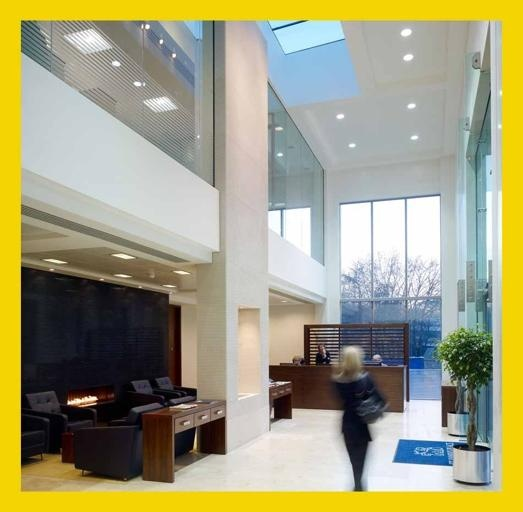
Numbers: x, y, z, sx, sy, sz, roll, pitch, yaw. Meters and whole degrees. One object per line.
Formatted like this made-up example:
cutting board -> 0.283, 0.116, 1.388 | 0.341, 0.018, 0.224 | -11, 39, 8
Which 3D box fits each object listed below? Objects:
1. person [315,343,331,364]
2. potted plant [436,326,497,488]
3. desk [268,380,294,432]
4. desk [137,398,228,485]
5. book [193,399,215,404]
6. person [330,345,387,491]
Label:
person -> 1.862, 3.102, 13.680 | 0.544, 0.879, 0.446 | 2, -11, -11
potted plant -> 2.810, 2.014, 5.898 | 0.705, 1.958, 0.704 | -3, -3, 20
desk -> 0.525, 3.887, 11.636 | 0.462, 1.065, 1.592 | -2, -11, 4
desk -> -1.086, 2.710, 6.574 | 0.448, 0.900, 1.487 | -1, -9, 24
book -> -0.933, 2.397, 7.168 | 0.152, 0.040, 0.161 | 0, -4, 13
person -> 1.051, 1.795, 4.694 | 0.540, 1.595, 0.808 | -1, -9, 9
